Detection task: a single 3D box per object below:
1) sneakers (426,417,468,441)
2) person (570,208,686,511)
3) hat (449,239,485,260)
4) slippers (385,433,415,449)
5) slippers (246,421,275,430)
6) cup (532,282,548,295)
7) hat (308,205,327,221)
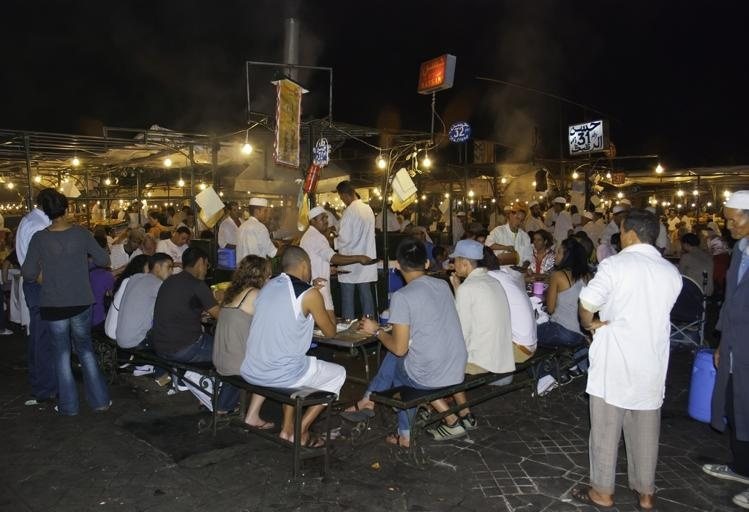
[{"bbox_3d":[0.903,2.174,6.979,0.508,0.269,0.206,0,-2,5],"label":"sneakers"},{"bbox_3d":[2.572,1.066,5.715,0.994,3.067,0.356,1,6,2],"label":"person"},{"bbox_3d":[1.160,-0.086,6.904,0.327,0.175,0.238,6,12,21],"label":"hat"},{"bbox_3d":[0.286,2.195,6.689,0.330,0.084,0.134,9,34,43],"label":"slippers"},{"bbox_3d":[-1.358,2.077,6.893,0.292,0.044,0.141,-2,-4,35],"label":"slippers"},{"bbox_3d":[2.793,0.531,9.216,0.273,0.273,0.231,3,1,6],"label":"cup"},{"bbox_3d":[-0.965,-0.727,9.120,0.251,0.134,0.252,-29,7,1],"label":"hat"}]
